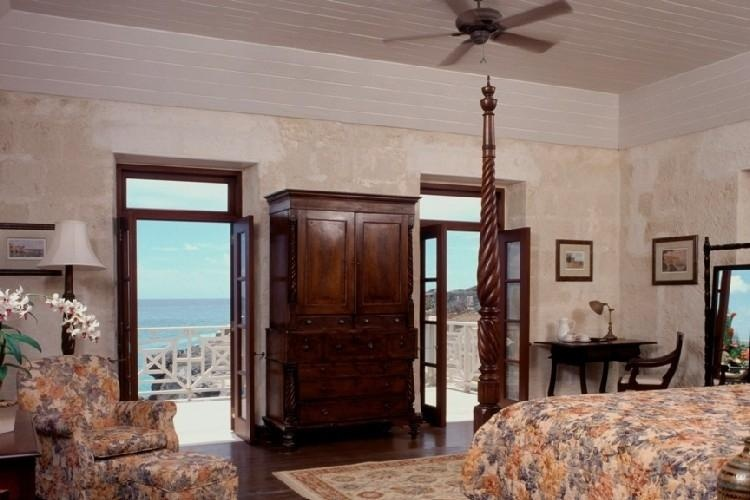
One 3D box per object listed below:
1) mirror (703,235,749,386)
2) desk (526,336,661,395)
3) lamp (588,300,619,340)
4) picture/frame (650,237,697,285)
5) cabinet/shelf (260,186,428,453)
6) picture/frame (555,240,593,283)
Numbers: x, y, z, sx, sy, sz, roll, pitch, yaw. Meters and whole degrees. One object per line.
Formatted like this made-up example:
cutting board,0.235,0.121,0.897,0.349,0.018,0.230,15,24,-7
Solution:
mirror,4.612,0.747,7.741,0.448,1.844,0.660,-1,-1,28
desk,3.240,1.814,8.781,1.736,1.073,0.895,2,-6,-27
lamp,3.565,1.020,9.075,0.363,0.562,0.729,-1,-1,22
picture/frame,4.415,0.148,8.561,0.058,0.686,0.713,6,-7,-33
cabinet/shelf,-0.344,0.814,7.542,1.837,3.036,0.543,0,-1,-15
picture/frame,3.122,0.163,9.171,0.745,0.646,0.050,1,-2,-20
